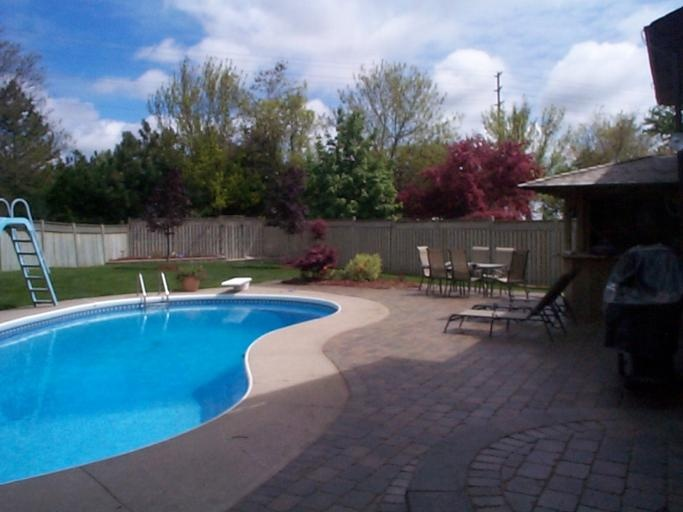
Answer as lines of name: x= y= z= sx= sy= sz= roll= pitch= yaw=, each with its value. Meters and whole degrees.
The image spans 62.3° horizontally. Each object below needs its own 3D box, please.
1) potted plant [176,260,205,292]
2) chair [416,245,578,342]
potted plant: x=-5.166 y=0.698 z=19.186 sx=0.765 sy=0.962 sz=0.892 roll=2 pitch=-2 yaw=-7
chair: x=3.472 y=1.095 z=11.472 sx=2.369 sy=1.297 sz=1.455 roll=0 pitch=1 yaw=32
